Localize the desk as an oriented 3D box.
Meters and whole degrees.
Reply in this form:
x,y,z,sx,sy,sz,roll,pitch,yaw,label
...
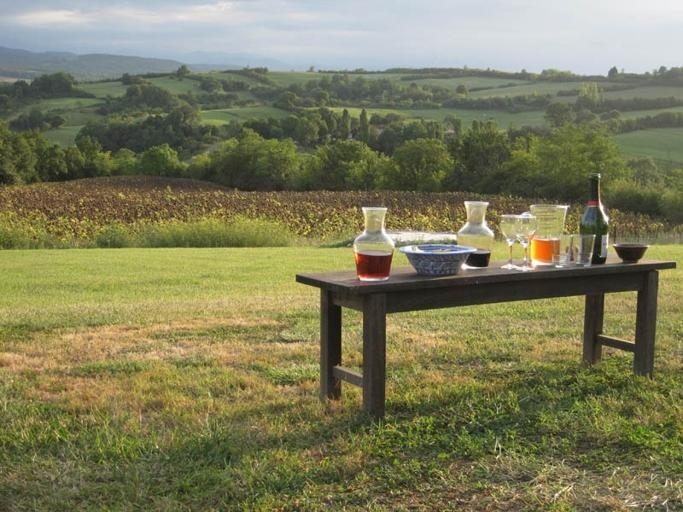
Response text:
x,y,z,sx,sy,sz,roll,pitch,yaw,label
1.901,0.698,12.584,5.417,1.741,3.177,0,10,-15,desk

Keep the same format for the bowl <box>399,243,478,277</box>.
x,y,z,sx,sy,sz,roll,pitch,yaw,label
1.109,0.048,10.921,0.852,0.322,0.400,3,10,5,bowl

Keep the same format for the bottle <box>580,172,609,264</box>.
x,y,z,sx,sy,sz,roll,pitch,yaw,label
3.121,-0.391,11.508,0.268,1.313,0.279,-1,6,0,bottle

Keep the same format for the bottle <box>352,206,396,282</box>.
x,y,z,sx,sy,sz,roll,pitch,yaw,label
0.341,-0.089,10.821,0.365,0.964,0.374,0,1,0,bottle
